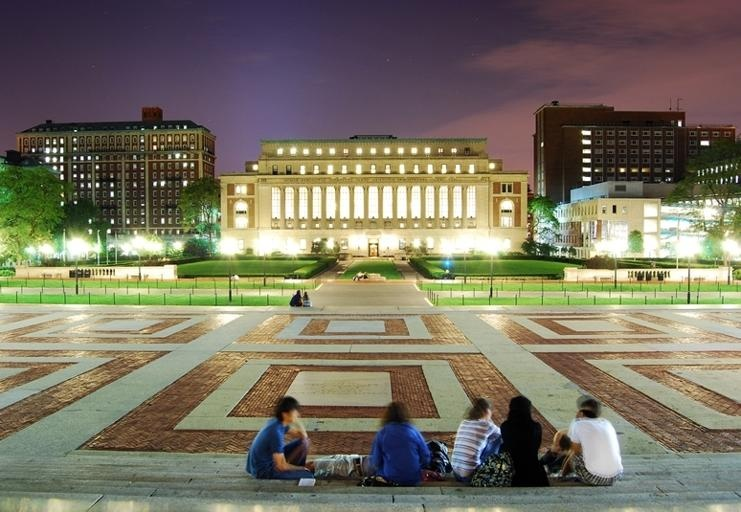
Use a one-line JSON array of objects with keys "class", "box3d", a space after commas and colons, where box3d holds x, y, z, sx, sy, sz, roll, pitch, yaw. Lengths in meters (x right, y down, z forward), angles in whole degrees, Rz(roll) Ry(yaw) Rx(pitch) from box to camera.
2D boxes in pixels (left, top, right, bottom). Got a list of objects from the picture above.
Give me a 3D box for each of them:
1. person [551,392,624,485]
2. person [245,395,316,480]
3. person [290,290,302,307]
[{"class": "person", "box3d": [4.845, 4.172, 12.530, 1.202, 1.845, 0.572, 0, 5, 41]}, {"class": "person", "box3d": [-2.158, 4.157, 12.850, 1.484, 1.825, 0.746, -4, 4, -7]}, {"class": "person", "box3d": [-5.074, 2.874, 37.668, 1.107, 1.048, 0.760, 7, 7, 34]}]
